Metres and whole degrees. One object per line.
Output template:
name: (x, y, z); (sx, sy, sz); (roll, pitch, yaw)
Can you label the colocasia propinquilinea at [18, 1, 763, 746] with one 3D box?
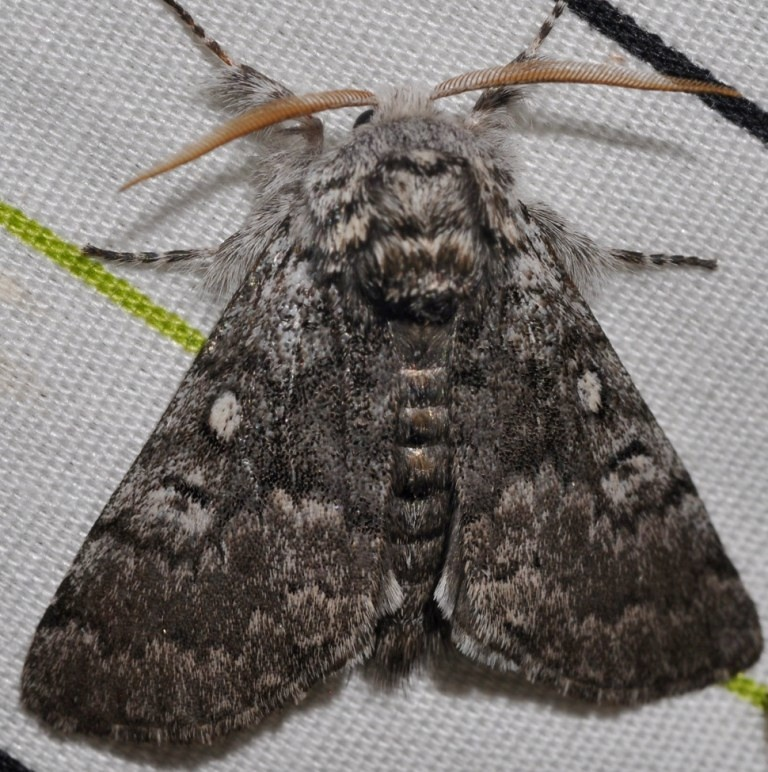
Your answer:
colocasia propinquilinea: (0.019, 0.127, 1.870); (1.218, 0.233, 1.202); (19, 83, 2)
